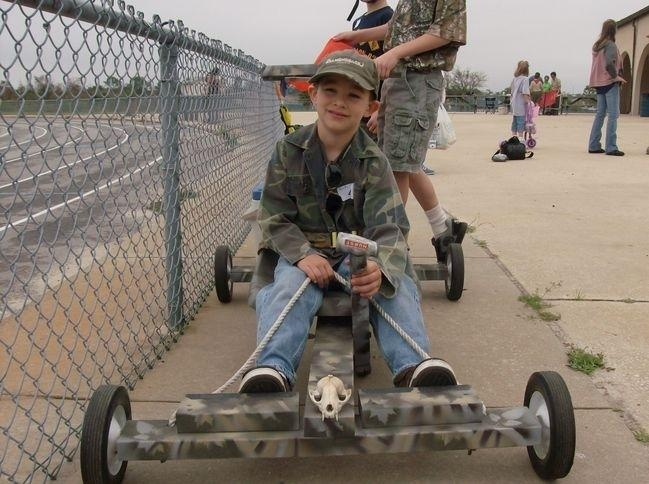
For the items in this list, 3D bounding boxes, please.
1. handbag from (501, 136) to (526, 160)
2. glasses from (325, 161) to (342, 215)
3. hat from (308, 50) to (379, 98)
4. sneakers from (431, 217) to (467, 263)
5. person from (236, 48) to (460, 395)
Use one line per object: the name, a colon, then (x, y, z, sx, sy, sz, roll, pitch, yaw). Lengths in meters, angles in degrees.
handbag: (3.949, -1.930, 10.939, 0.472, 0.495, 0.497, 4, 5, 11)
glasses: (0.051, -0.260, 2.713, 0.109, 0.200, 0.074, -1, 14, 5)
hat: (0.102, -0.839, 2.599, 0.340, 0.233, 0.224, 1, 17, 1)
sneakers: (0.957, -0.040, 3.964, 0.208, 0.460, 0.147, -10, 29, -26)
person: (0.084, -0.168, 2.456, 0.877, 1.419, 1.134, -3, 17, -9)
